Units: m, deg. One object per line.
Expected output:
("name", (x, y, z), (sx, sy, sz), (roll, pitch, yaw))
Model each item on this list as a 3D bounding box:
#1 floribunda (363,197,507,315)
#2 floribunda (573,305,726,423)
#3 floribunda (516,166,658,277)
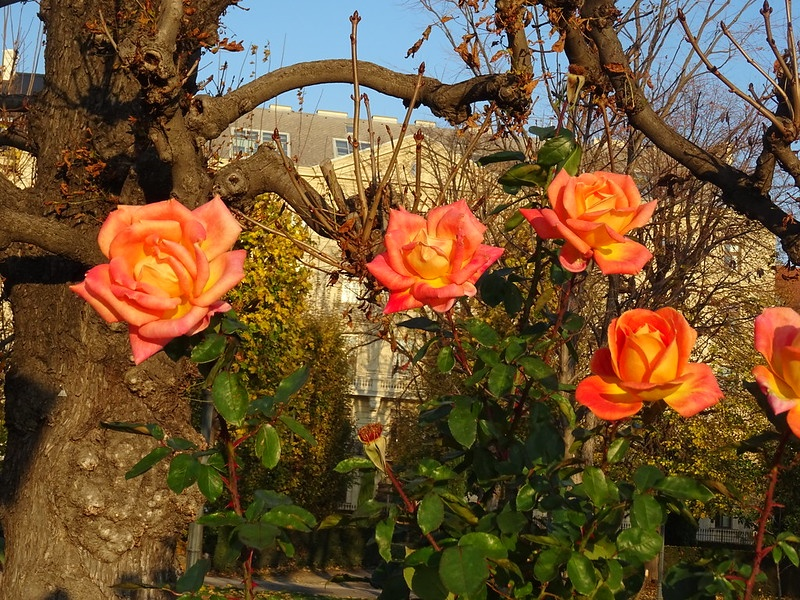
("floribunda", (0.169, -0.219, 4.986), (0.438, 0.218, 0.428), (27, -1, -37))
("floribunda", (1.091, 0.302, 4.804), (0.616, 0.336, 0.584), (16, 26, 27))
("floribunda", (0.962, -0.317, 4.958), (0.250, 0.449, 0.479), (52, -12, -16))
